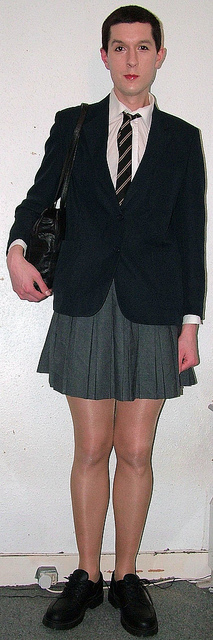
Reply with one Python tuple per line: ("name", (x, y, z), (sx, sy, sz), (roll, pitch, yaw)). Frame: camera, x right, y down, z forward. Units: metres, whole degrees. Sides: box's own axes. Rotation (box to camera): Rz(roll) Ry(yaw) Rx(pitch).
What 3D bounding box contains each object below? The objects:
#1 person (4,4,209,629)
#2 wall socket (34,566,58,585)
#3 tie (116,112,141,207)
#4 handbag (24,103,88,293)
("person", (0.007, 0.015, 1.327), (0.586, 1.711, 0.273), (2, -1, -17))
("wall socket", (-0.196, 0.838, 1.531), (0.047, 0.070, 0.058), (0, -15, -5))
("tie", (0.058, -0.449, 1.277), (0.062, 0.276, 0.052), (1, -1, 4))
("handbag", (-0.143, -0.363, 1.302), (0.145, 0.549, 0.139), (1, -1, 18))
